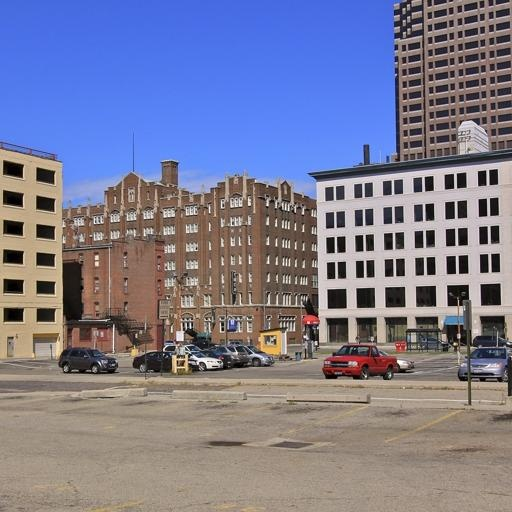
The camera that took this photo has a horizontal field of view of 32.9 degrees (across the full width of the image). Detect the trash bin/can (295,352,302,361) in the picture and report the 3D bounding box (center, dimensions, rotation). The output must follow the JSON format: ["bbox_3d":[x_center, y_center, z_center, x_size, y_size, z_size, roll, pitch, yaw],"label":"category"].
[{"bbox_3d":[3.172,7.468,65.014,0.563,0.820,0.578,-1,-5,2],"label":"trash bin/can"}]

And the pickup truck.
[{"bbox_3d":[4.880,4.885,39.957,2.167,1.629,4.249,-2,-7,36],"label":"pickup truck"}]

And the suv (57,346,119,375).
[{"bbox_3d":[-9.738,6.132,50.967,2.991,1.400,1.635,-3,-5,27],"label":"suv"}]
